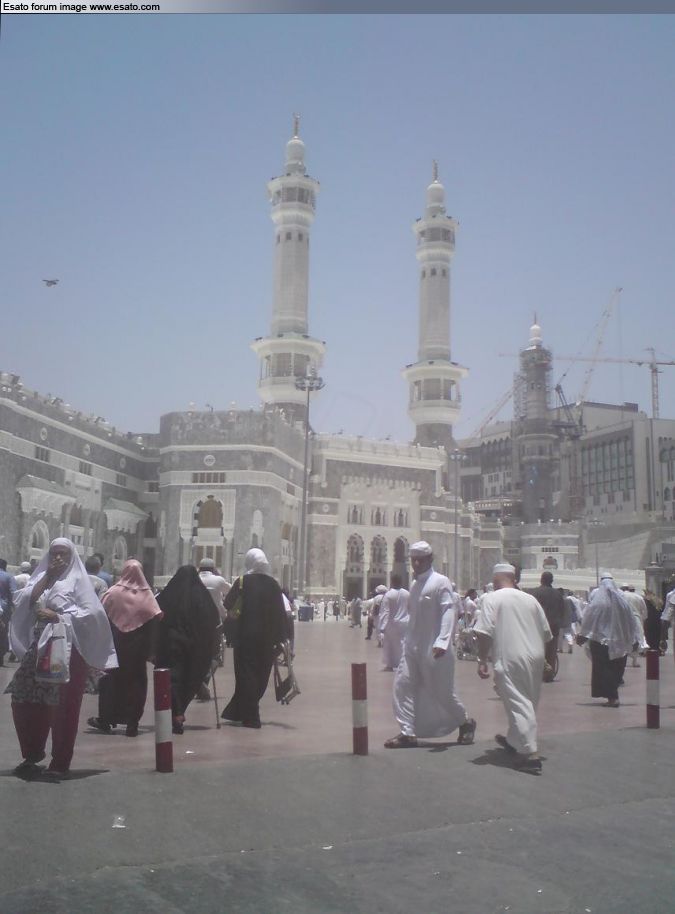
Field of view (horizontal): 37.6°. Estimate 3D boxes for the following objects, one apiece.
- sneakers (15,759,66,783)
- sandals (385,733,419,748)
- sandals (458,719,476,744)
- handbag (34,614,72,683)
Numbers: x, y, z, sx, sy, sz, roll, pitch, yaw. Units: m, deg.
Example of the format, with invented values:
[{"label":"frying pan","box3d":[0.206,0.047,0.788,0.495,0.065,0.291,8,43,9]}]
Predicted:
[{"label":"sneakers","box3d":[-1.997,2.102,6.600,0.367,0.193,0.150,0,-9,11]},{"label":"sandals","box3d":[0.523,2.301,8.070,0.258,0.141,0.101,6,-9,-11]},{"label":"sandals","box3d":[1.088,2.317,8.365,0.082,0.123,0.275,1,0,10]},{"label":"handbag","box3d":[-1.904,1.296,6.637,0.322,0.472,0.174,-8,-12,36]}]
